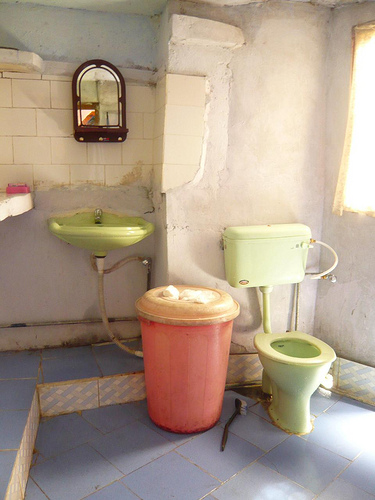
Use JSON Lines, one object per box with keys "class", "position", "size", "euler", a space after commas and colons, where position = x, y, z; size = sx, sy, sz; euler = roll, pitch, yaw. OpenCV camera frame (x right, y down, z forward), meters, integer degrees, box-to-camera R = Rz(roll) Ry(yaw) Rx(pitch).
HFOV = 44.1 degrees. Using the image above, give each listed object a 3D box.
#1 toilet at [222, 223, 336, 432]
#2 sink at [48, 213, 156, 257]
{"class": "toilet", "position": [0.500, 0.382, 2.384], "size": [0.541, 0.923, 0.724], "euler": [-1, 11, -14]}
{"class": "sink", "position": [-0.483, -0.091, 2.497], "size": [0.415, 0.152, 0.339], "euler": [-1, 16, -13]}
